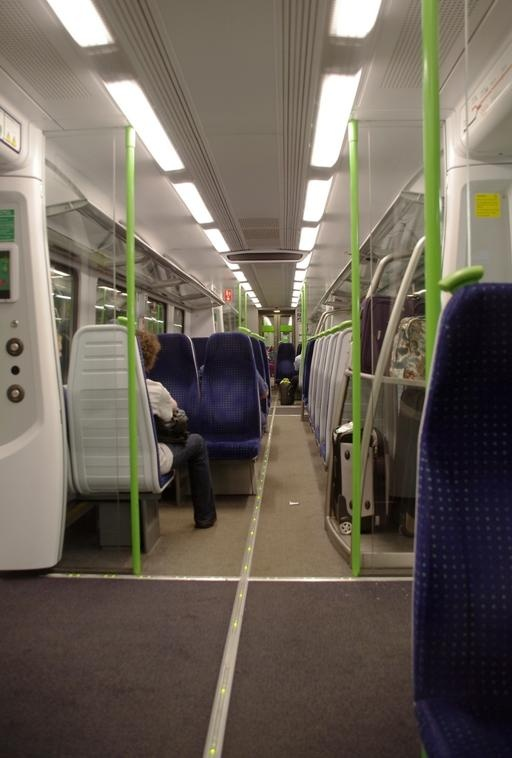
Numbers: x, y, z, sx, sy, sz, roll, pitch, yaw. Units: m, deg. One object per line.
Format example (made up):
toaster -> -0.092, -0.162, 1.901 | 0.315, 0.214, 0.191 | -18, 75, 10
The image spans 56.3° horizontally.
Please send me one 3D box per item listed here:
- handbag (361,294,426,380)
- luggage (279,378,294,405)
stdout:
handbag -> 0.696, -0.234, 2.534 | 0.283, 0.609, 0.290 | 1, 2, 9
luggage -> 0.735, 0.301, 11.892 | 0.384, 0.955, 0.515 | -1, 4, -2
